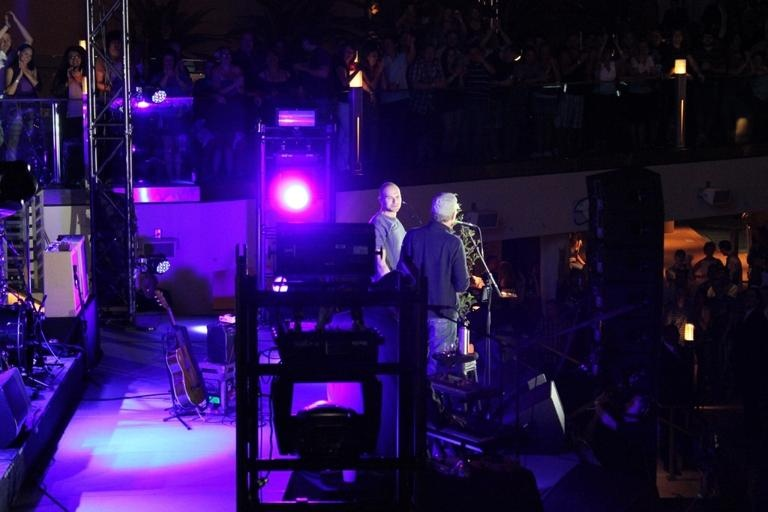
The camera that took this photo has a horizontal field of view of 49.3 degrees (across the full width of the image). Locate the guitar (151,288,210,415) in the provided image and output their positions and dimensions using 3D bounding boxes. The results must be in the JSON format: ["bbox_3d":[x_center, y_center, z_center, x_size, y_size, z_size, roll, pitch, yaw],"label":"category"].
[{"bbox_3d":[-2.574,1.470,10.917,0.548,1.164,0.339,0,2,-15],"label":"guitar"}]

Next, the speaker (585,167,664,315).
[{"bbox_3d":[3.238,-0.566,11.486,0.924,1.806,1.061,-2,16,10],"label":"speaker"}]

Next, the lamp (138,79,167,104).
[{"bbox_3d":[-3.884,-2.735,14.150,0.401,0.315,0.191,6,23,19],"label":"lamp"}]
